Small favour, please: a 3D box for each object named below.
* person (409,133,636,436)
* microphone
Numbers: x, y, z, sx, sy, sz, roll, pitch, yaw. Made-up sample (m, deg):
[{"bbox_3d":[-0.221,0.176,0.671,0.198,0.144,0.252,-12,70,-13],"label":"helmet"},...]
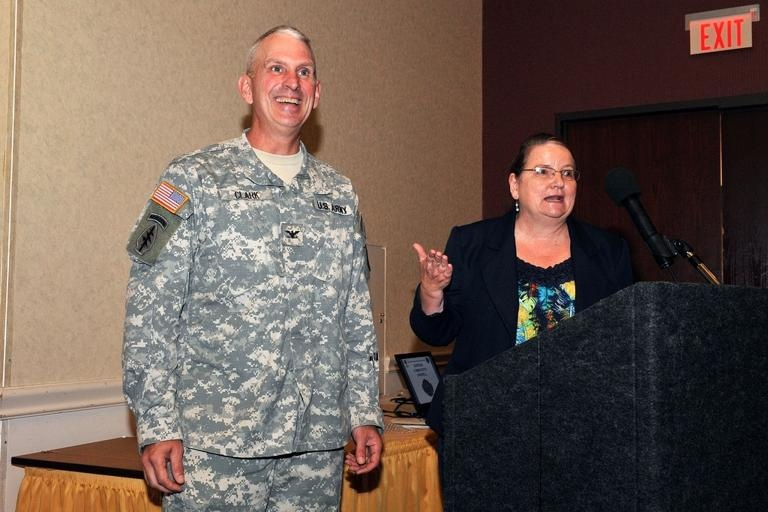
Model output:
[{"bbox_3d":[0.447,-0.036,2.654,0.835,0.822,0.391,-3,-8,-19],"label":"person"},{"bbox_3d":[0.759,-0.116,2.309,0.116,0.579,0.121,-25,-51,16],"label":"microphone"}]
